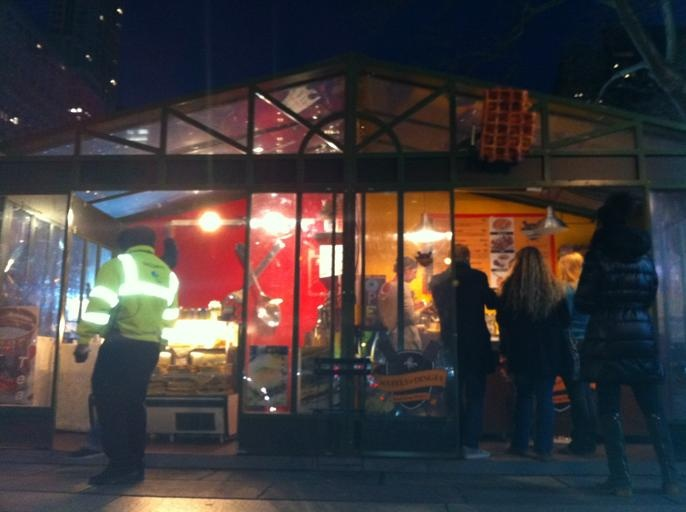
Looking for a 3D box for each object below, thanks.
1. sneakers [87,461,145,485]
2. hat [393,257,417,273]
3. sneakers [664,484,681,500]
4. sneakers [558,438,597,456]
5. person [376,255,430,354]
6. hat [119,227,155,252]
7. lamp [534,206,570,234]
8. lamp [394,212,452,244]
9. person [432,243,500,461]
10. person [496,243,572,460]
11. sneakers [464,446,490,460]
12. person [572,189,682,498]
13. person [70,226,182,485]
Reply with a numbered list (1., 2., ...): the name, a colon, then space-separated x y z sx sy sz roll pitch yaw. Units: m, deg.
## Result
1. sneakers: -2.217 2.165 7.653 0.532 0.185 0.188 4 -13 -13
2. hat: 0.754 0.097 9.242 0.251 0.116 0.141 -15 29 1
3. sneakers: 3.099 2.212 7.238 0.122 0.100 0.125 1 -5 13
4. sneakers: 2.724 2.235 8.995 0.517 0.191 0.168 0 -7 22
5. person: 0.704 0.566 9.201 0.527 1.119 0.305 1 3 3
6. hat: -2.164 -0.179 8.184 0.363 0.286 0.250 -9 -4 1
7. lamp: 3.306 -0.539 12.237 0.493 0.301 0.458 -1 -9 6
8. lamp: 1.029 -0.310 9.176 0.428 0.253 0.394 0 -3 -9
9. person: 1.519 1.099 9.082 0.625 2.421 0.749 -2 3 -38
10. person: 2.231 1.089 8.946 0.549 2.375 0.803 -1 3 -34
11. sneakers: 1.544 2.250 8.772 0.304 0.096 0.152 0 3 -4
12. person: 2.748 0.810 7.535 0.912 2.838 0.667 1 3 9
13. person: -2.164 0.965 7.843 0.579 2.511 0.946 2 3 22
